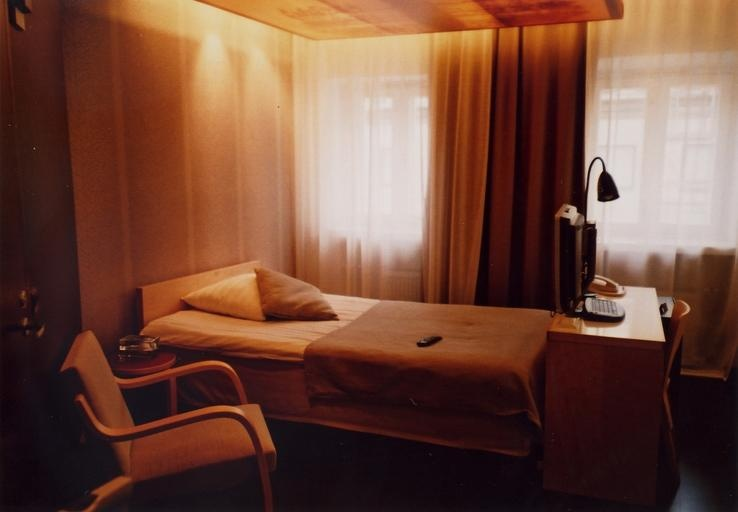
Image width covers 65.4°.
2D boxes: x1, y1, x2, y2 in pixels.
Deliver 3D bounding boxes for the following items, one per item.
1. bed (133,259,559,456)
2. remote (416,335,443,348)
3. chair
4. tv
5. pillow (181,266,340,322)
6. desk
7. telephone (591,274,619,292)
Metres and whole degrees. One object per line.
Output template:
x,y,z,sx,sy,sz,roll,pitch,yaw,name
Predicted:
-0.046,0.667,3.856,2.080,0.637,1.337,2,12,16,bed
0.389,0.535,3.674,0.068,0.031,0.133,5,6,34,remote
-1.042,0.845,3.016,0.960,0.805,0.832,-5,11,-26,chair
1.265,0.039,3.520,0.207,0.647,0.702,4,29,26,tv
-0.798,0.315,4.305,0.634,0.207,0.567,5,1,9,pillow
1.390,0.820,3.766,0.802,1.143,1.588,3,8,20,desk
1.645,0.161,3.986,0.144,0.049,0.155,8,7,26,telephone
